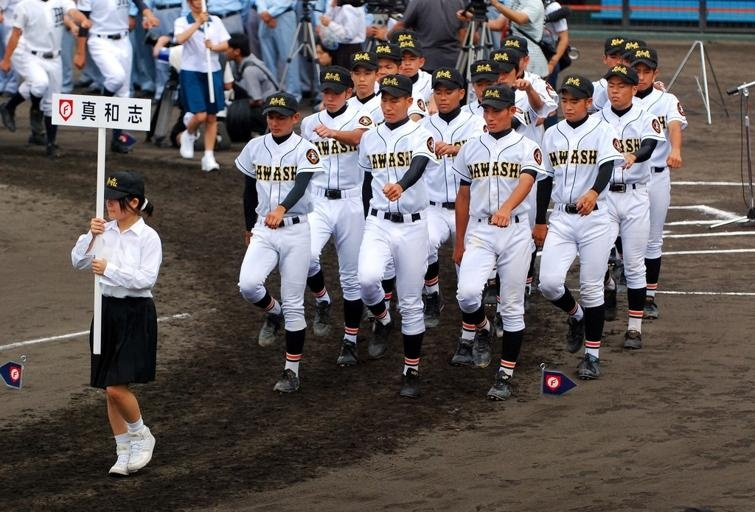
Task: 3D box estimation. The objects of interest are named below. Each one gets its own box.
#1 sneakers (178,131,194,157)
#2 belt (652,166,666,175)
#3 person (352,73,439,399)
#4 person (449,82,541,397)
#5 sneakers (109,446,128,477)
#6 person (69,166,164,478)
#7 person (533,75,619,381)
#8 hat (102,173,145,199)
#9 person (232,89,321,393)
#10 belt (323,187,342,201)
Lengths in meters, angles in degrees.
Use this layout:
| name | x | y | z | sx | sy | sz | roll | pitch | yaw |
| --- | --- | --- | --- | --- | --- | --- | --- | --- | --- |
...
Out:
| name | x | y | z | sx | sy | sz | roll | pitch | yaw |
| --- | --- | --- | --- | --- | --- | --- | --- | --- | --- |
| sneakers | -3.012 | -1.769 | 17.596 | 0.197 | 0.464 | 0.228 | -3 | -9 | -21 |
| belt | 3.123 | -0.941 | 12.209 | 0.098 | 0.060 | 0.091 | -4 | 12 | -32 |
| person | 0.163 | -0.209 | 10.822 | 0.731 | 3.102 | 0.854 | 2 | 10 | -2 |
| person | 1.146 | -0.155 | 10.854 | 0.864 | 3.033 | 0.760 | 10 | 12 | 35 |
| sneakers | -2.261 | 1.804 | 9.628 | 0.163 | 0.239 | 0.164 | 0 | 10 | -12 |
| person | -2.214 | 0.593 | 9.677 | 0.563 | 2.613 | 0.686 | 1 | 10 | -11 |
| person | 2.000 | -0.308 | 11.149 | 0.831 | 3.010 | 0.889 | 4 | 10 | 8 |
| hat | -2.226 | -0.611 | 9.678 | 0.345 | 0.137 | 0.221 | 3 | 8 | -8 |
| person | -1.010 | -0.166 | 11.043 | 0.811 | 2.926 | 1.082 | 1 | 10 | -7 |
| belt | -0.465 | -0.651 | 11.664 | 0.172 | 0.088 | 0.144 | 3 | 1 | -6 |
